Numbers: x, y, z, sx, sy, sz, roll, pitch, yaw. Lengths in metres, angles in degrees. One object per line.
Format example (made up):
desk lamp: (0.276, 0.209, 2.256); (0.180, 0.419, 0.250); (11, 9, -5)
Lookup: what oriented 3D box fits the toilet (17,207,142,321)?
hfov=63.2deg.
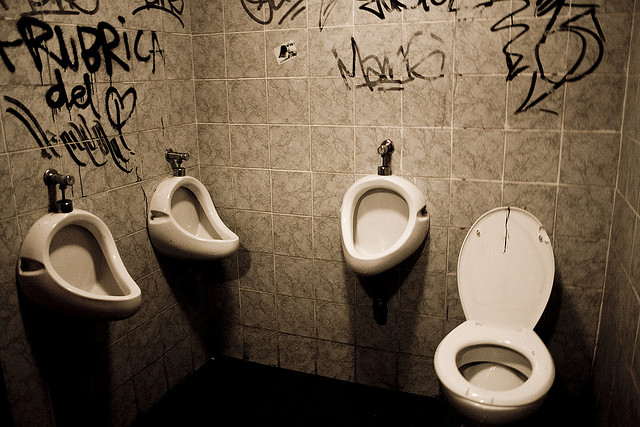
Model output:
toilet: (-1.087, 0.250, 2.534); (0.549, 0.566, 0.456); (30, 30, 19)

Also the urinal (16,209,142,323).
urinal: (-1.086, 0.311, 2.428); (0.562, 0.554, 0.463); (24, 17, 36)

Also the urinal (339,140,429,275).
urinal: (0.325, -0.003, 2.775); (0.468, 0.689, 0.335); (6, 27, 8)

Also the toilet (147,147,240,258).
toilet: (-0.652, -0.092, 2.969); (0.524, 0.581, 0.440); (8, 18, 29)

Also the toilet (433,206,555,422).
toilet: (0.851, 0.472, 2.460); (0.518, 0.823, 0.696); (9, 23, 25)

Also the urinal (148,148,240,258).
urinal: (-0.715, -0.100, 3.050); (0.589, 0.624, 0.456); (17, 20, 26)

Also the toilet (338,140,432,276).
toilet: (0.330, -0.009, 2.796); (0.389, 0.697, 0.548); (6, 18, 23)
